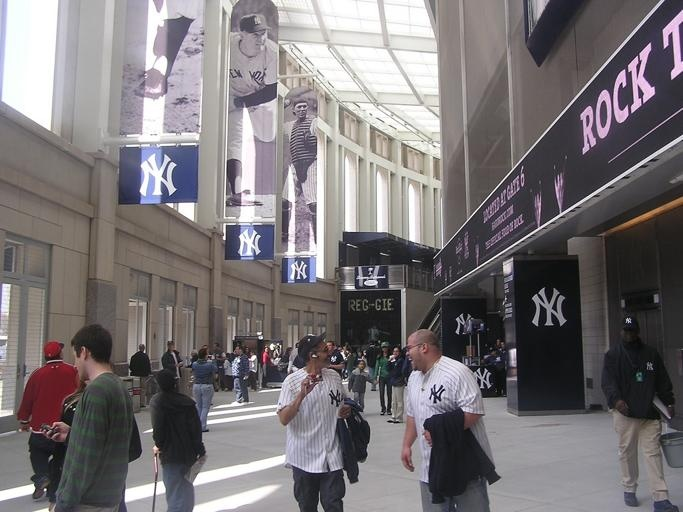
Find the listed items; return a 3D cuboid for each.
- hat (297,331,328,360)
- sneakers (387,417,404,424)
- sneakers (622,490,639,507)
[{"bbox_3d":[-0.245,0.751,4.314,0.205,0.215,0.255,2,-9,-7],"label":"hat"},{"bbox_3d":[1.389,4.234,13.500,0.450,0.212,0.167,0,-9,18],"label":"sneakers"},{"bbox_3d":[3.214,2.689,5.850,0.077,0.109,0.251,0,1,9],"label":"sneakers"}]
